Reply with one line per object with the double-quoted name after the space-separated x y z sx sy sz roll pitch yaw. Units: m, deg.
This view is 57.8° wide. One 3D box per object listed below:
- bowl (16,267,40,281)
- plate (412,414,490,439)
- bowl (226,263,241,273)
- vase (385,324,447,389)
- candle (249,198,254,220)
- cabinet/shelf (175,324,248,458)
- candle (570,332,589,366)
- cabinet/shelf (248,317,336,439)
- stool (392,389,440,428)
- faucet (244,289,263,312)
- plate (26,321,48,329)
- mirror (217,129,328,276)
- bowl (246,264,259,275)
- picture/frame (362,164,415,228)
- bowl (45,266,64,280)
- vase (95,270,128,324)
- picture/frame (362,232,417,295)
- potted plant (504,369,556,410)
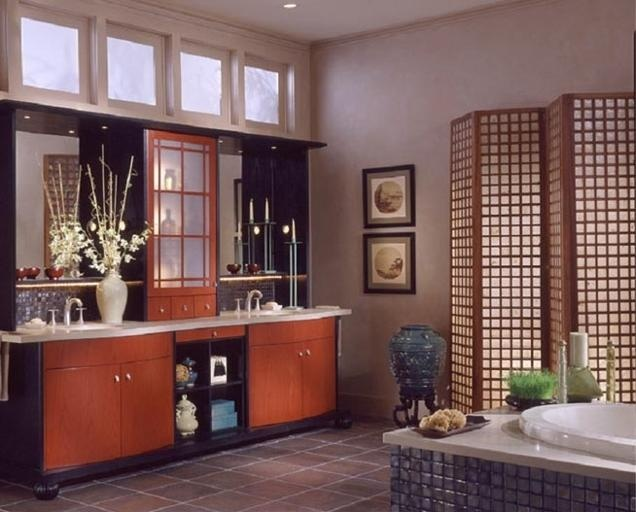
-2.342 0.142 4.678 0.081 0.113 0.229 -1 -2 11 "bowl"
0.649 0.807 2.736 0.458 0.033 0.171 1 -3 -37 "plate"
-0.854 0.133 5.974 0.077 0.111 0.190 -2 -3 39 "bowl"
0.939 0.909 5.490 0.532 0.617 0.508 2 -4 -33 "vase"
-0.713 -0.504 6.247 0.017 0.245 0.086 -2 -3 31 "candle"
-0.954 1.217 5.148 0.332 1.270 1.041 -3 -4 34 "cabinet/shelf"
1.468 0.532 3.236 0.083 0.211 0.178 -1 -3 28 "candle"
-0.254 1.115 5.759 1.068 1.039 0.403 -1 1 -36 "cabinet/shelf"
0.976 1.499 5.652 0.449 0.458 0.480 2 1 -6 "stool"
-0.658 0.457 5.970 0.181 0.218 0.809 0 -2 -5 "faucet"
-2.193 0.531 4.491 0.088 0.046 0.094 -2 -4 20 "plate"
-0.536 -0.595 6.292 1.538 2.051 0.439 2 -4 -43 "mirror"
-0.687 0.137 6.119 0.101 0.090 0.107 -1 -2 0 "bowl"
0.812 -0.675 6.405 0.652 0.768 0.049 -1 -1 37 "picture/frame"
-2.203 0.141 4.819 0.098 0.079 0.104 -1 1 0 "bowl"
-1.749 0.342 4.847 0.248 0.454 0.250 0 -2 -8 "vase"
0.825 0.070 6.405 0.641 0.760 0.046 0 0 39 "picture/frame"
1.223 0.756 3.315 0.225 0.188 0.235 -5 -4 32 "potted plant"
